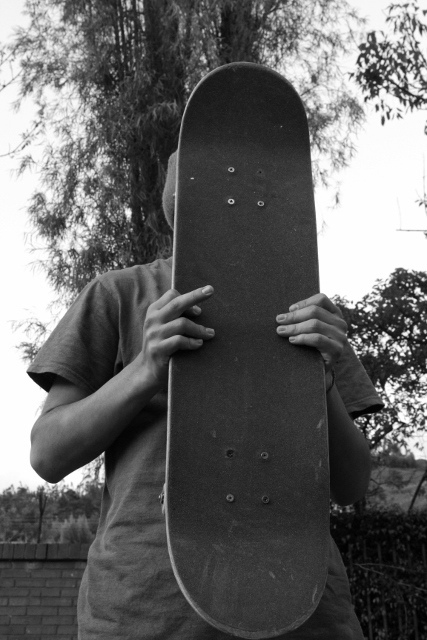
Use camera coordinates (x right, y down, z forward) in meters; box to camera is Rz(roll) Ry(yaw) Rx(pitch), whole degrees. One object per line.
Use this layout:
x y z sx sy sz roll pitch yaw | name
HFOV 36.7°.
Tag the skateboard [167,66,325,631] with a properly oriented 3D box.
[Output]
0.049 -0.010 1.313 0.244 1.166 0.196 4 -20 -9 | skateboard
